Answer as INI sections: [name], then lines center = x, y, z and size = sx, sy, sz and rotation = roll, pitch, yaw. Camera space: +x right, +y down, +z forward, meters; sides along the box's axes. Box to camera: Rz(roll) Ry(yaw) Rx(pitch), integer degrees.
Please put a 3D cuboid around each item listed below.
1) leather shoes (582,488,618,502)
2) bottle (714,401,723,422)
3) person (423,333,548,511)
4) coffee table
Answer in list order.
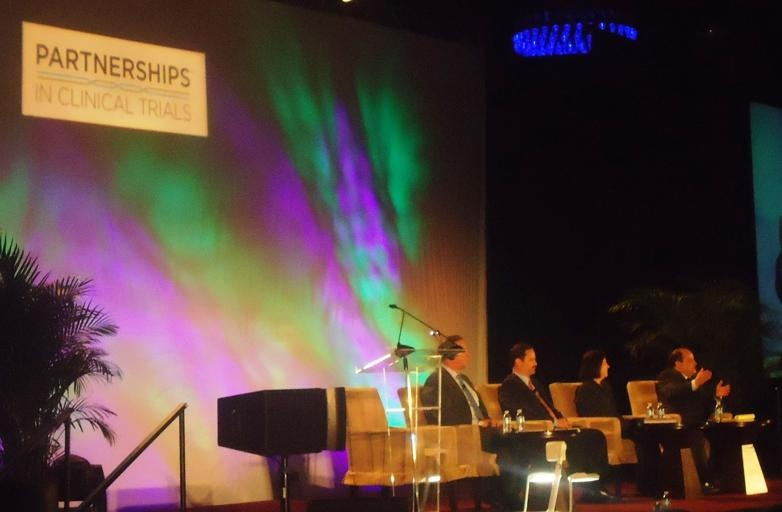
[leather shoes]
center = 2.301, 2.634, 8.781
size = 0.249, 0.096, 0.177
rotation = 0, -8, 8
[bottle]
center = 3.875, 1.817, 9.318
size = 0.094, 0.246, 0.424
rotation = -7, -15, 22
[person]
center = 1.204, 1.544, 9.106
size = 1.778, 1.143, 0.807
rotation = 6, -1, -23
[coffee table]
center = 4.143, 2.375, 9.336
size = 0.681, 0.798, 0.687
rotation = 15, -28, -34
